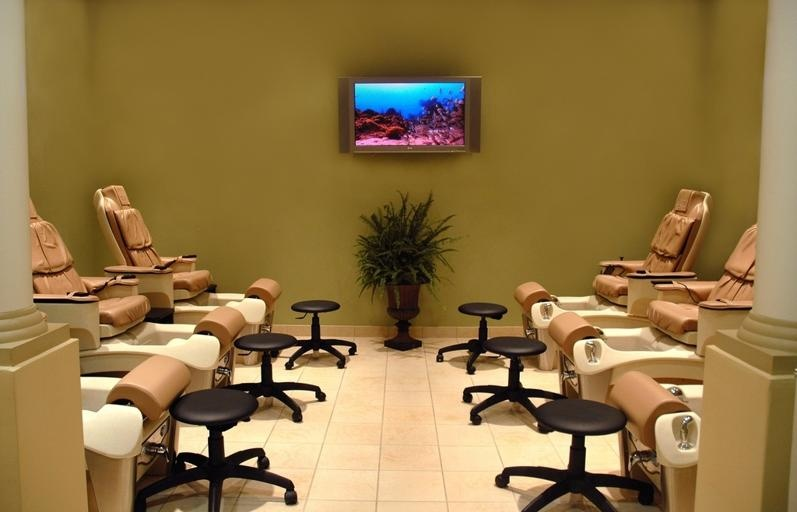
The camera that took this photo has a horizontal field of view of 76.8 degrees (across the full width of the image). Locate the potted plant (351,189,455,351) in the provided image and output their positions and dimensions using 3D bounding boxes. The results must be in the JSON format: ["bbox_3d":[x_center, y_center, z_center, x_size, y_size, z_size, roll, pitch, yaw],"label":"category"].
[{"bbox_3d":[-0.026,0.229,6.163,1.211,1.671,1.256,-1,-2,-6],"label":"potted plant"}]

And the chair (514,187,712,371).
[{"bbox_3d":[2.263,0.170,5.452,1.754,1.626,1.224,-3,9,8],"label":"chair"}]

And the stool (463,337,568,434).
[{"bbox_3d":[0.968,1.013,4.430,0.774,0.549,0.749,-6,9,-37],"label":"stool"}]

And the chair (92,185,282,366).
[{"bbox_3d":[-2.035,0.082,5.955,2.343,2.159,1.582,2,7,-1],"label":"chair"}]

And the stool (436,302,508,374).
[{"bbox_3d":[0.879,0.854,5.526,0.680,0.689,0.525,-3,15,-41],"label":"stool"}]

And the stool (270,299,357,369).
[{"bbox_3d":[-0.926,0.839,5.659,0.860,0.679,0.937,-3,4,-42],"label":"stool"}]

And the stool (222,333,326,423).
[{"bbox_3d":[-1.193,1.050,4.502,1.011,0.700,1.108,-3,-5,4],"label":"stool"}]

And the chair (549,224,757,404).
[{"bbox_3d":[2.237,0.479,4.222,1.750,1.347,1.259,-6,7,4],"label":"chair"}]
